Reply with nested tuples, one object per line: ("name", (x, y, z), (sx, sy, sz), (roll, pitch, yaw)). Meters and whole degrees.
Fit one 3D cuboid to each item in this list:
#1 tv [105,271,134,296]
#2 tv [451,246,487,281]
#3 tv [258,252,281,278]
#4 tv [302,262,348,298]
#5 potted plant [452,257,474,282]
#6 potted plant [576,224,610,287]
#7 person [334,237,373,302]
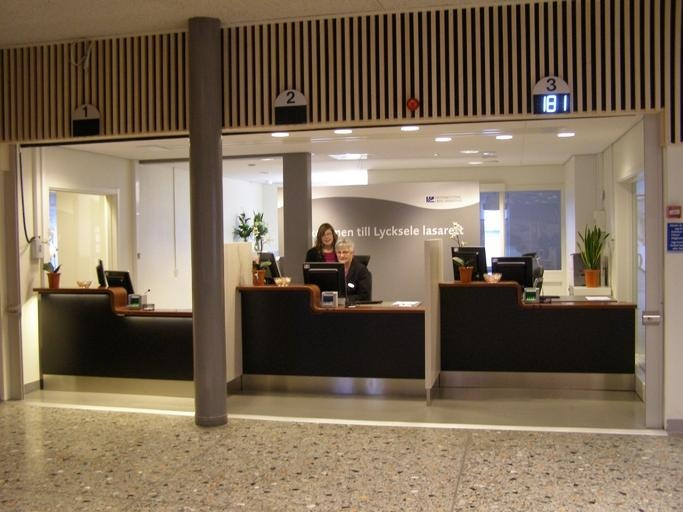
("tv", (-2.958, 0.295, 7.836), (0.307, 0.352, 0.452), (-2, 14, -25))
("tv", (1.688, 0.092, 7.767), (0.427, 0.477, 0.158), (1, 8, 10))
("tv", (-1.010, 0.125, 8.174), (0.251, 0.375, 0.362), (-9, 11, -31))
("tv", (-0.207, 0.288, 7.144), (0.387, 0.363, 0.132), (0, 2, 16))
("potted plant", (1.536, 0.177, 7.462), (0.241, 0.355, 0.332), (-3, -1, 25))
("potted plant", (4.239, -0.024, 9.910), (0.435, 0.995, 1.122), (1, 3, 21))
("person", (0.189, 0.227, 7.632), (0.545, 0.899, 0.710), (-1, -6, -4))
